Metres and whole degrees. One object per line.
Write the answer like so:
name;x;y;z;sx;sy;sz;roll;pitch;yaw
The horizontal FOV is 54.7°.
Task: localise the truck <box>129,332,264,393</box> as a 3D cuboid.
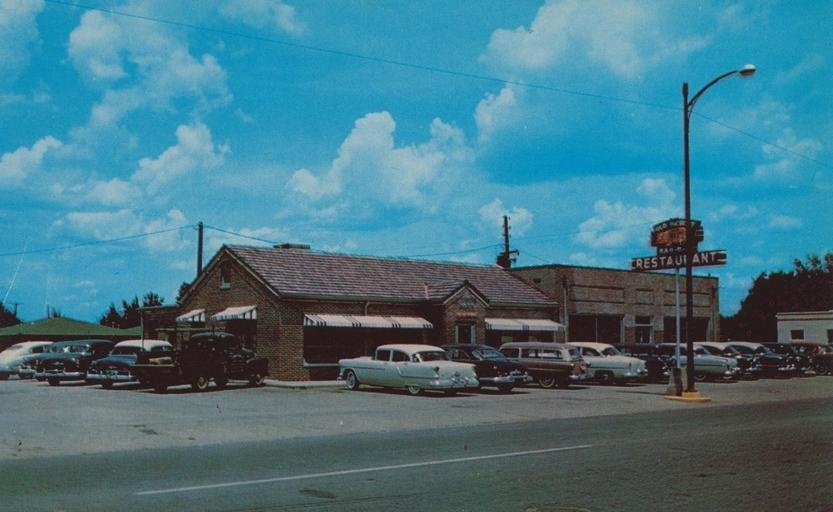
truck;-9.530;4.691;35.517;4.564;1.800;2.540;1;-3;-40
